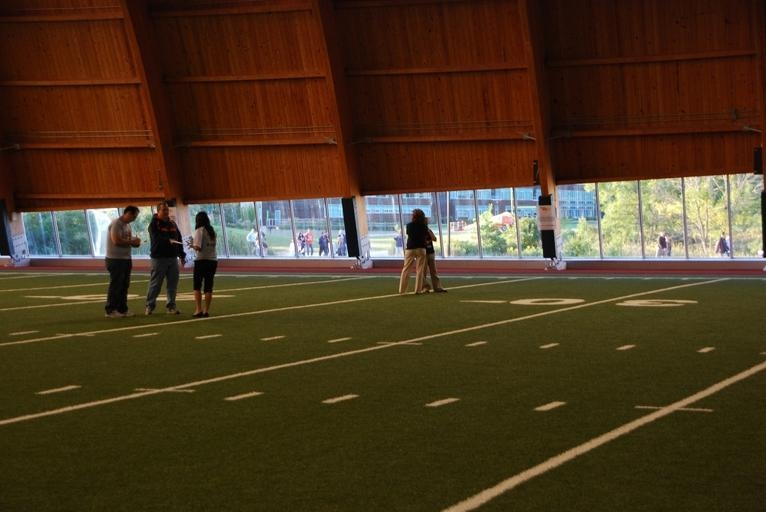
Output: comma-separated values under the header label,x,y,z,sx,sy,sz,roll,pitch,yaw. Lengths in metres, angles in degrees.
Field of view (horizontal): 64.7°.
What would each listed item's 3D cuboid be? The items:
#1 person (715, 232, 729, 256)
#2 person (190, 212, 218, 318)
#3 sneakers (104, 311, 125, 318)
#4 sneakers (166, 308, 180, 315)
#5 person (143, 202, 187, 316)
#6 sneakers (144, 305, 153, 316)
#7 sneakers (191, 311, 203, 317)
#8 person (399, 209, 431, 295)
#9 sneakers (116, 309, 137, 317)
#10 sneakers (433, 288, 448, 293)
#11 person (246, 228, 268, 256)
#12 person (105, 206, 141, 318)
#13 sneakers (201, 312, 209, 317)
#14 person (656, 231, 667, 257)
label,x,y,z,sx,sy,sz,roll,pitch,yaw
person,10.829,-0.363,19.400,0.380,0.752,0.095,1,6,25
person,-3.352,0.178,11.394,0.465,2.016,0.729,-3,6,-17
sneakers,-5.158,1.129,11.711,0.374,0.149,0.132,-1,1,-3
sneakers,-4.127,1.092,11.957,0.314,0.137,0.106,-5,-3,31
person,-4.395,0.037,12.129,0.798,2.208,1.446,-4,6,-19
sneakers,-4.678,1.092,12.021,0.152,0.231,0.240,5,-10,-14
sneakers,-3.558,1.118,11.600,0.087,0.096,0.253,-1,2,-43
person,0.818,-0.106,14.369,0.680,1.955,0.554,1,-5,25
sneakers,-4.993,1.120,11.803,0.311,0.124,0.102,0,-2,-7
sneakers,1.389,0.834,14.736,0.340,0.137,0.110,-1,4,8
person,-5.328,-0.593,25.726,0.963,1.227,0.261,1,6,27
person,-5.037,0.094,11.706,0.698,2.129,1.322,-4,6,-25
sneakers,-3.398,1.116,11.562,0.089,0.095,0.232,-1,-5,-32
person,9.254,-0.388,20.163,0.340,0.809,0.102,0,6,15
